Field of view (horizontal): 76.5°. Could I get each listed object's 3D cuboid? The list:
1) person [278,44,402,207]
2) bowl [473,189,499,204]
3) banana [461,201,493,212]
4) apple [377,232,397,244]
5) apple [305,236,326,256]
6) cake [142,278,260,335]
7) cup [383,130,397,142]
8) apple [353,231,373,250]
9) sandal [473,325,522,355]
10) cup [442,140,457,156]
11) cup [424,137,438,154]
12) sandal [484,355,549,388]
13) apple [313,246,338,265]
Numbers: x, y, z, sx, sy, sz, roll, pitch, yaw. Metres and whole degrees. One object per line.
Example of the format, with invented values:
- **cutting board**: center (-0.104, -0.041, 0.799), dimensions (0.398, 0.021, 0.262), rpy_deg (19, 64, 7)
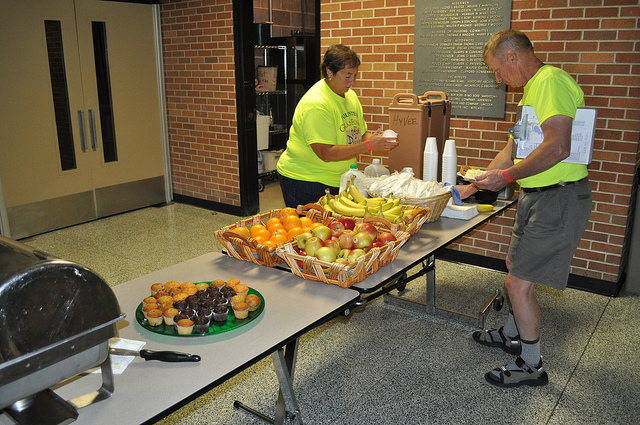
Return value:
- **person**: center (0.138, -0.408, 3.348), dimensions (0.957, 1.752, 0.751), rpy_deg (5, 28, 4)
- **bowl**: center (1.186, -0.117, 2.901), dimensions (0.115, 0.079, 0.115), rpy_deg (-1, 19, 0)
- **banana**: center (1.141, -0.037, 2.931), dimensions (0.155, 0.042, 0.082), rpy_deg (19, 27, 39)
- **apple**: center (0.357, 0.134, 2.183), dimensions (0.061, 0.061, 0.061), rpy_deg (-13, -1, 14)
- **apple**: center (-0.034, 0.167, 2.140), dimensions (0.089, 0.090, 0.089), rpy_deg (-13, -14, -29)
- **cake**: center (-0.531, 0.402, 1.809), dimensions (0.514, 0.096, 0.333), rpy_deg (-4, 22, -8)
- **cup**: center (0.498, -0.545, 2.928), dimensions (0.091, 0.076, 0.108), rpy_deg (2, 22, 8)
- **apple**: center (0.226, 0.146, 2.143), dimensions (0.085, 0.086, 0.085), rpy_deg (-9, 1, 14)
- **sandal**: center (1.356, 0.956, 3.118), dimensions (0.340, 0.159, 0.111), rpy_deg (11, 25, 28)
- **cup**: center (0.964, -0.485, 3.031), dimensions (0.111, 0.102, 0.109), rpy_deg (1, 18, 0)
- **cup**: center (0.818, -0.494, 3.002), dimensions (0.112, 0.107, 0.105), rpy_deg (0, 12, 0)
- **sandal**: center (1.347, 1.080, 2.770), dimensions (0.417, 0.185, 0.111), rpy_deg (-2, 22, -2)
- **apple**: center (0.033, 0.215, 2.046), dimensions (0.089, 0.078, 0.078), rpy_deg (17, 26, 6)
